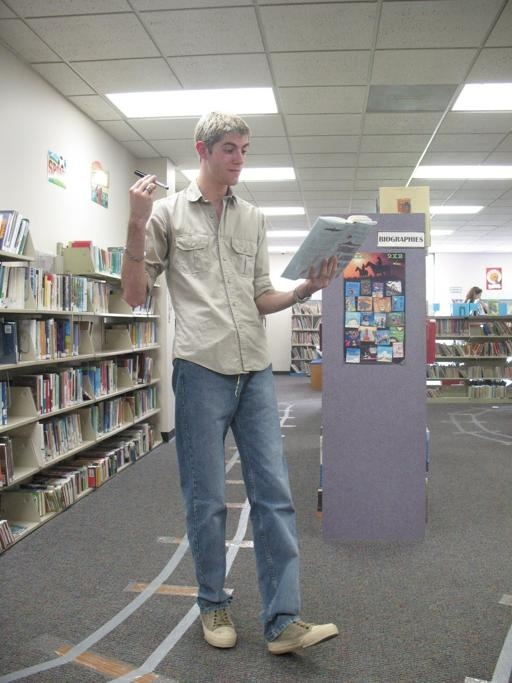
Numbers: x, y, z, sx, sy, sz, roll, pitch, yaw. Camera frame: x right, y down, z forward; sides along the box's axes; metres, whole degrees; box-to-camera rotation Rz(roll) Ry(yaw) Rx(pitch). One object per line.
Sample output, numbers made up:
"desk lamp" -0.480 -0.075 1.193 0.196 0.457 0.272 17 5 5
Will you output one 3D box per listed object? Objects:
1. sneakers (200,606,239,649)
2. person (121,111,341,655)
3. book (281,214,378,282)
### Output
"sneakers" -0.105 0.836 1.479 0.066 0.082 0.182 0 -9 -13
"person" -0.065 0.160 1.406 0.586 1.565 0.448 -1 1 -16
"book" 0.195 -0.255 1.367 0.219 0.154 0.277 -1 1 -8
